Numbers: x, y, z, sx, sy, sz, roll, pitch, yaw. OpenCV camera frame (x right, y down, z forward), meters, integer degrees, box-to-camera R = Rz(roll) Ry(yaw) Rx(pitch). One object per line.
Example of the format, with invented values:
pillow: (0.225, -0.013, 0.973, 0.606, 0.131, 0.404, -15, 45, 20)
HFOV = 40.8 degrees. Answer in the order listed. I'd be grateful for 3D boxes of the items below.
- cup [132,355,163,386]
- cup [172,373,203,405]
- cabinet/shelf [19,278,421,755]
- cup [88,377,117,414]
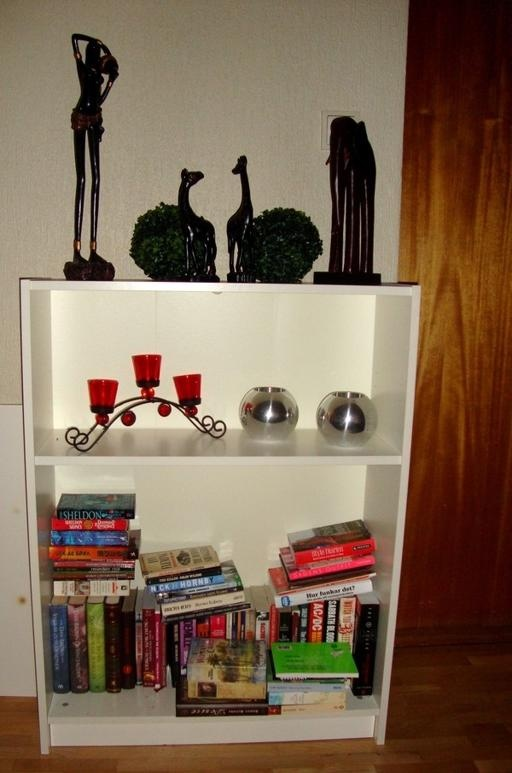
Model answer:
cup: (-0.258, -0.036, 1.644, 0.069, 0.078, 0.071, 0, -2, 0)
cup: (-0.164, 0.006, 1.679, 0.066, 0.074, 0.067, -1, 3, 0)
cabinet/shelf: (0.034, 0.207, 1.808, 0.703, 0.943, 0.264, 2, 18, 8)
cup: (-0.354, 0.022, 1.640, 0.072, 0.078, 0.073, 3, 4, 0)
